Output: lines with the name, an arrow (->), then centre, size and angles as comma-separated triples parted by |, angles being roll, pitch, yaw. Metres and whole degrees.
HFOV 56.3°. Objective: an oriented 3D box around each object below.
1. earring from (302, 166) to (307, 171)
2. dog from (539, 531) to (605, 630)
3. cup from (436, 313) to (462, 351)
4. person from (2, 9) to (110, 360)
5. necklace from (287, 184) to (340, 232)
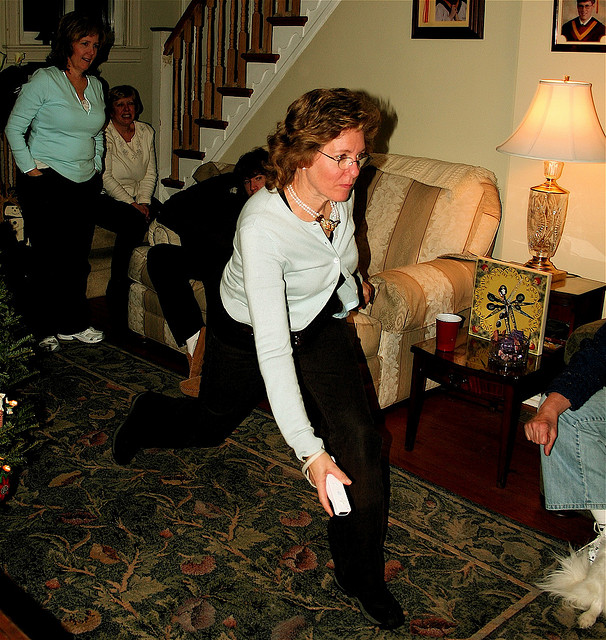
earring -> 0.002, -0.320, 1.199 | 0.008, 0.006, 0.002 | 31, 16, 12
dog -> 0.708, 0.684, 1.495 | 0.183, 0.181, 0.100 | -6, -11, 11
cup -> 0.563, 0.052, 2.273 | 0.146, 0.136, 0.132 | 3, 5, 0
person -> -1.354, -0.725, 3.144 | 0.501, 1.786, 0.649 | -2, 16, -20
necklace -> 0.021, -0.262, 1.332 | 0.172, 0.040, 0.128 | -8, 50, -41
